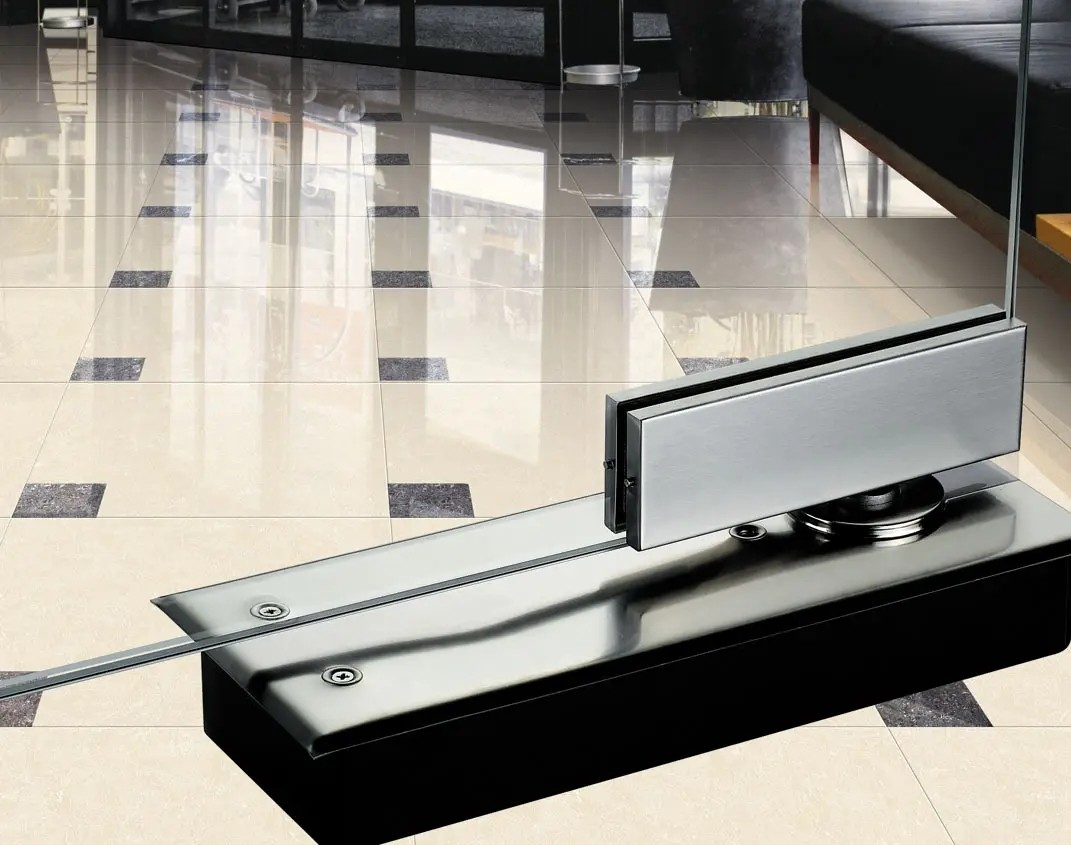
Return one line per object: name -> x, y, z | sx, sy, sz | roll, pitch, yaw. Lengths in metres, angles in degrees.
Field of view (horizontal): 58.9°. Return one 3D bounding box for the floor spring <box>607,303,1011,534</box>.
floor spring -> 0.154, 0.003, 0.505 | 0.239, 0.073, 0.031 | -13, 22, -16
